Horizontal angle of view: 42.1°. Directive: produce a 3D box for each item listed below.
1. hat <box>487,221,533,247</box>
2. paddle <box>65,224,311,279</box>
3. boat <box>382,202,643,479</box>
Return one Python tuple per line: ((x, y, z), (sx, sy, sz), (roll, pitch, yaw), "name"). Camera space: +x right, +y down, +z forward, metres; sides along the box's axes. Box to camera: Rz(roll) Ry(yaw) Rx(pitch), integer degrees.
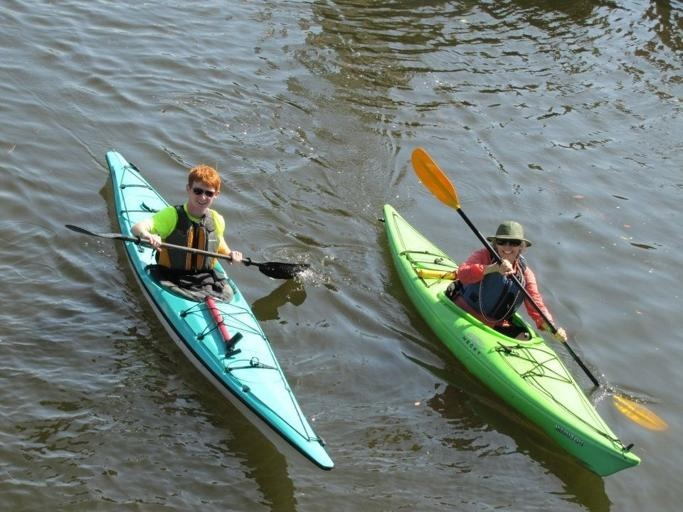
((2.094, -0.324, 11.060), (0.575, 0.473, 0.166), (3, 77, 6), "hat")
((-2.036, -0.037, 11.111), (3.536, 0.129, 0.437), (9, 8, -36), "paddle")
((1.722, 0.976, 11.283), (4.972, 0.790, 1.343), (37, 43, 25), "boat")
